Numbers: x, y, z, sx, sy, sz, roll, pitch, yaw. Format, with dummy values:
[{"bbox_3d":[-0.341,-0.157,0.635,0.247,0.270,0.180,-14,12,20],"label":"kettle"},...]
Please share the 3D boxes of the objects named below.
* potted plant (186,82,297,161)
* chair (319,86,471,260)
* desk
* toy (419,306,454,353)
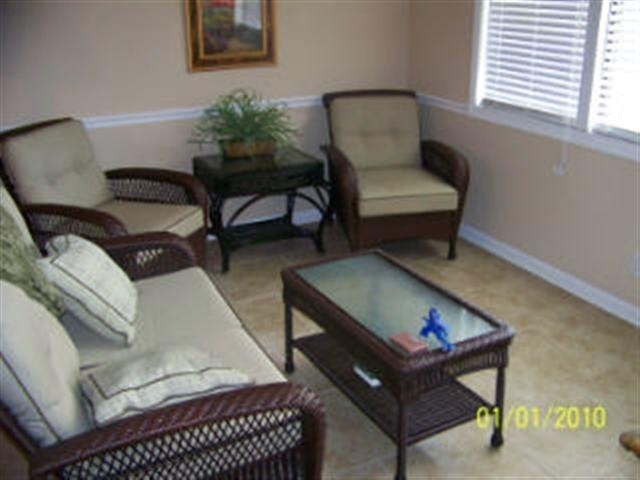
[{"bbox_3d":[-0.566,-0.843,3.841,0.617,0.357,0.628,-4,15,-11],"label":"potted plant"},{"bbox_3d":[0.523,-0.480,3.969,1.034,1.067,1.000,-8,30,-3],"label":"chair"},{"bbox_3d":[-0.455,-0.403,4.079,1.192,0.993,0.876,-12,31,-23],"label":"desk"},{"bbox_3d":[0.477,0.371,2.083,0.051,0.144,0.143,-8,44,15],"label":"toy"}]
